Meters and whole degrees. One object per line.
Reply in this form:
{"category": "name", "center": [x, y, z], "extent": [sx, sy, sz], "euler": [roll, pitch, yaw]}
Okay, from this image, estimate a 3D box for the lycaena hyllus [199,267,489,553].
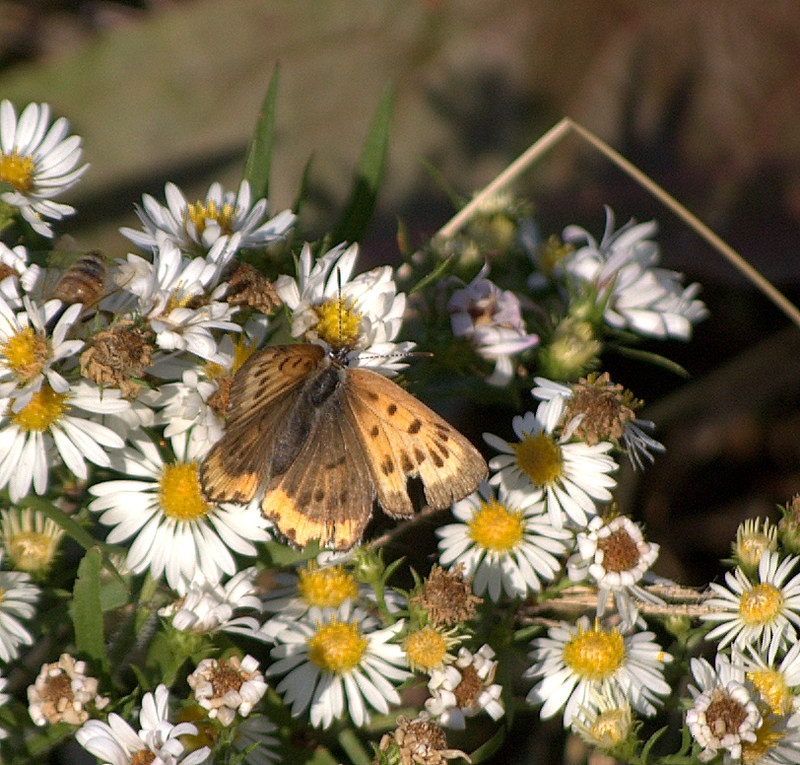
{"category": "lycaena hyllus", "center": [-0.076, 0.043, 1.390], "extent": [0.299, 0.089, 0.214], "euler": [11, 74, -24]}
